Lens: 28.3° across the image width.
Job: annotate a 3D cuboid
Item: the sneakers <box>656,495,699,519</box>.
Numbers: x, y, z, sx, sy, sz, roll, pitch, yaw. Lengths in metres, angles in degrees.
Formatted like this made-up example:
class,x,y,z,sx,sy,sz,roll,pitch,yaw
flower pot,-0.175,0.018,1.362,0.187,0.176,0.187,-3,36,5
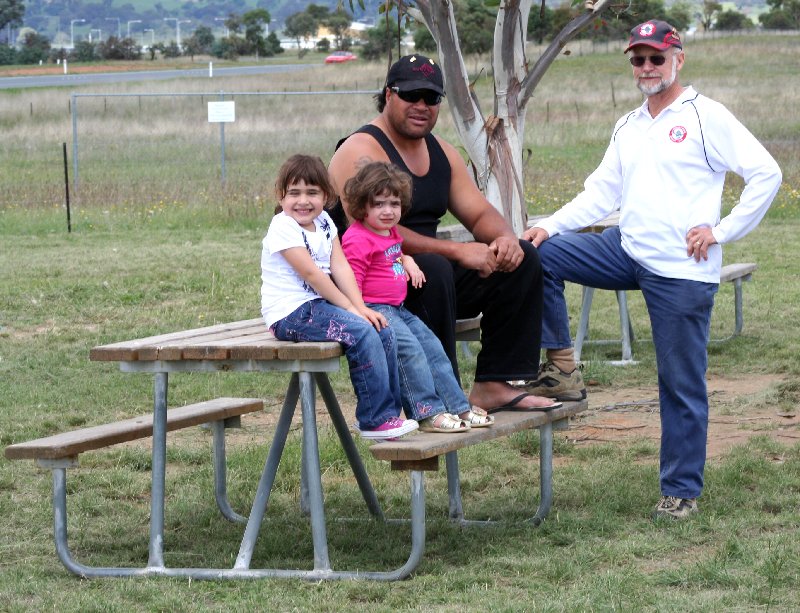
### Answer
class,x,y,z,sx,sy,sz,roll,pitch,yaw
sneakers,2.020,1.456,11.591,0.303,0.136,0.124,6,-4,-27

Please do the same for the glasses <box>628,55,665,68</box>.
class,x,y,z,sx,sy,sz,roll,pitch,yaw
glasses,1.779,-1.804,11.620,0.304,0.096,0.124,5,10,42

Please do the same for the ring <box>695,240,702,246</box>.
class,x,y,z,sx,sy,sz,roll,pitch,yaw
ring,2.148,-0.465,11.452,0.042,0.040,0.013,-2,3,6

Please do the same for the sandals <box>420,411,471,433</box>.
class,x,y,z,sx,sy,sz,roll,pitch,yaw
sandals,0.316,0.801,11.080,0.252,0.099,0.151,-2,-2,12

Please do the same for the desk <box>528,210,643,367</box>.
class,x,y,z,sx,sy,sz,roll,pitch,yaw
desk,2.071,-0.072,15.076,1.662,1.643,1.214,-1,1,2

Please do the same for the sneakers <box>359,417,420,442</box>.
class,x,y,z,sx,sy,sz,roll,pitch,yaw
sneakers,-0.071,0.822,11.003,0.383,0.162,0.153,-13,2,5

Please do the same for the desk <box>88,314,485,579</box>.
class,x,y,z,sx,sy,sz,roll,pitch,yaw
desk,-1.064,0.961,11.330,1.700,1.438,1.725,1,3,22

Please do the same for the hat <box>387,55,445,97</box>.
class,x,y,z,sx,sy,sz,roll,pitch,yaw
hat,0.102,-1.681,11.461,0.412,0.288,0.268,-2,7,-1

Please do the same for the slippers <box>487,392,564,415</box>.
class,x,y,z,sx,sy,sz,roll,pitch,yaw
slippers,0.895,0.713,11.377,0.530,0.136,0.188,-3,0,-2

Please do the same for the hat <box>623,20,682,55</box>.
class,x,y,z,sx,sy,sz,roll,pitch,yaw
hat,1.852,-1.998,11.662,0.412,0.234,0.303,-3,8,-5
